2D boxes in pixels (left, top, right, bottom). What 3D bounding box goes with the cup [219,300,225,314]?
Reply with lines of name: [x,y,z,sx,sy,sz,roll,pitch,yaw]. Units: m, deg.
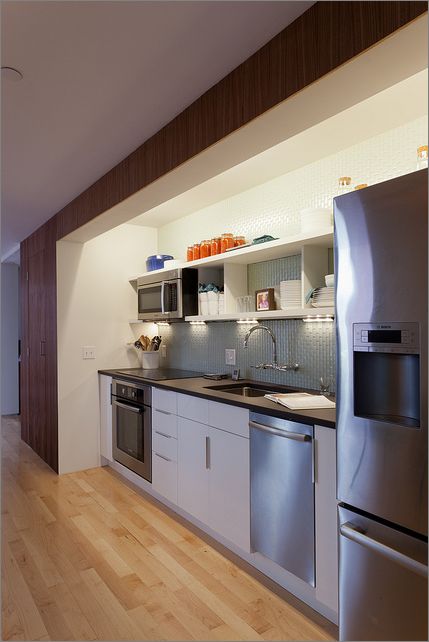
cup: [0.059,-0.093,3.126,0.068,0.106,0.101,1,-2,3]

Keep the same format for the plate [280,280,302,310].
plate: [0.415,-0.143,2.476,0.132,0.145,0.132,1,-3,-41]

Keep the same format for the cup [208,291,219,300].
cup: [-0.006,-0.180,3.145,0.048,0.051,0.025,8,14,32]

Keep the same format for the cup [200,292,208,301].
cup: [-0.073,-0.174,3.229,0.054,0.086,0.057,0,4,0]

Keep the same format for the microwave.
microwave: [-0.390,-0.205,3.735,0.291,0.382,0.637,-1,0,-39]

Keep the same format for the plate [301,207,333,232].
plate: [0.535,-0.513,2.364,0.141,0.114,0.146,-4,6,-23]

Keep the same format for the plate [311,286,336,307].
plate: [0.535,-0.116,2.262,0.101,0.058,0.102,1,-3,-39]

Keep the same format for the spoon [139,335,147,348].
spoon: [-0.642,0.186,4.146,0.041,0.134,0.042,5,-9,-29]

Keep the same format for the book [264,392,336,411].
book: [0.404,0.366,2.087,0.262,0.021,0.341,-1,-1,-9]

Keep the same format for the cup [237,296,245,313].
cup: [0.167,-0.118,3.011,0.081,0.111,0.079,2,5,0]

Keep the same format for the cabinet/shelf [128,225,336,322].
cabinet/shelf: [0.225,-0.236,2.873,0.386,0.422,1.580,-1,-1,-29]

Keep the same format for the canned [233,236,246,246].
canned: [0.168,-0.536,3.037,0.063,0.065,0.066,3,6,25]
